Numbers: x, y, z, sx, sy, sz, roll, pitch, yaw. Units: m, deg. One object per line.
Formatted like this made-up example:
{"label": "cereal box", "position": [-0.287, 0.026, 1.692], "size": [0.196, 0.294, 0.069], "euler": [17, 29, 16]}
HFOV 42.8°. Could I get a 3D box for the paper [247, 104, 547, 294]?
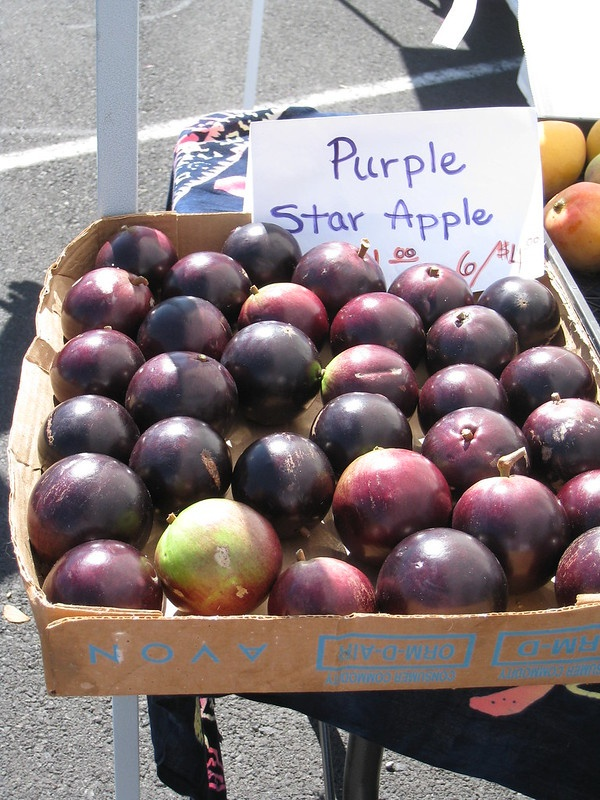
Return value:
{"label": "paper", "position": [0.191, -0.394, 1.519], "size": [0.504, 0.306, 0.024], "euler": [-2, 27, -1]}
